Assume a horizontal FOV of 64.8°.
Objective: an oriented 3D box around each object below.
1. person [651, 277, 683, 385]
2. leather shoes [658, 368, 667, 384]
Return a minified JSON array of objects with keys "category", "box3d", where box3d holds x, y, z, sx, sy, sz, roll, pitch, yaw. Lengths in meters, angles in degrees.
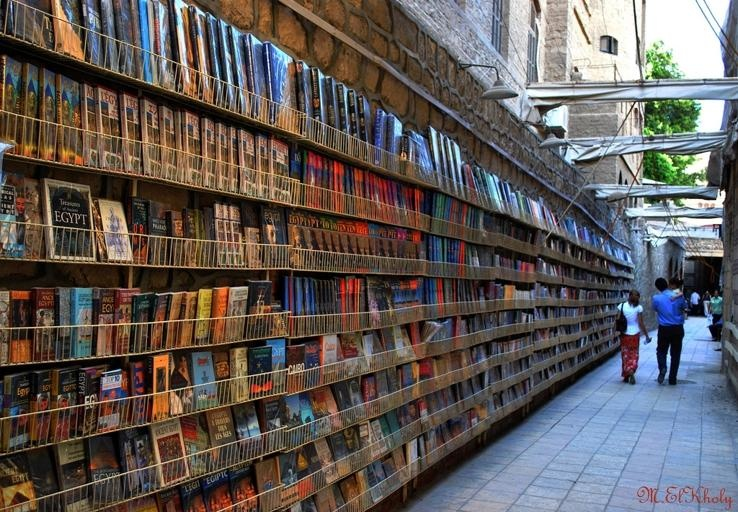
[{"category":"person","box3d":[4.756,1.172,9.155,0.464,1.619,0.561,-1,-4,37]},{"category":"leather shoes","box3d":[4.665,1.898,9.186,0.079,0.248,0.107,7,5,9]}]
